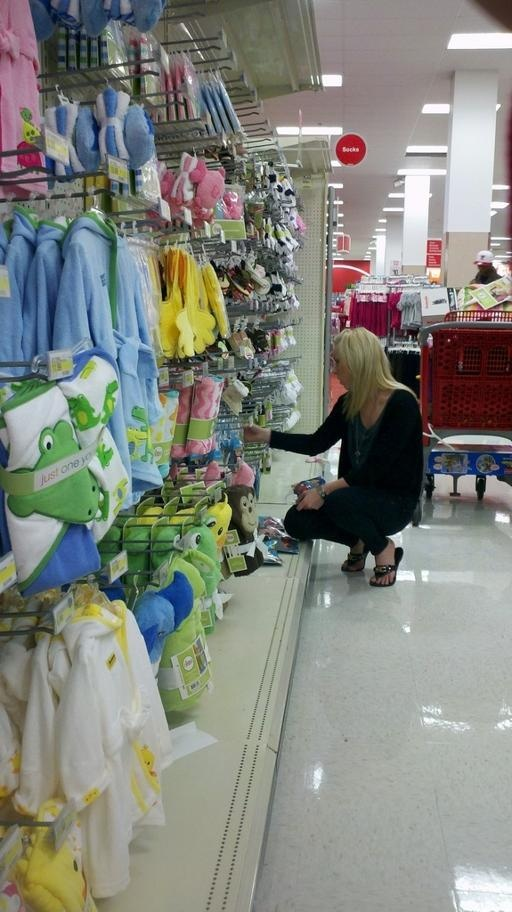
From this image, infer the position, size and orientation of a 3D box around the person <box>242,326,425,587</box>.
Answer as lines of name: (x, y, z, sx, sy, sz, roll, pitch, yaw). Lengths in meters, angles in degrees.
person: (0.445, -0.004, 3.134, 0.805, 1.392, 0.671, 0, -3, 38)

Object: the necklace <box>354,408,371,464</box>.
necklace: (0.545, -0.077, 2.981, 0.042, 0.205, 0.125, 5, -3, -37)
